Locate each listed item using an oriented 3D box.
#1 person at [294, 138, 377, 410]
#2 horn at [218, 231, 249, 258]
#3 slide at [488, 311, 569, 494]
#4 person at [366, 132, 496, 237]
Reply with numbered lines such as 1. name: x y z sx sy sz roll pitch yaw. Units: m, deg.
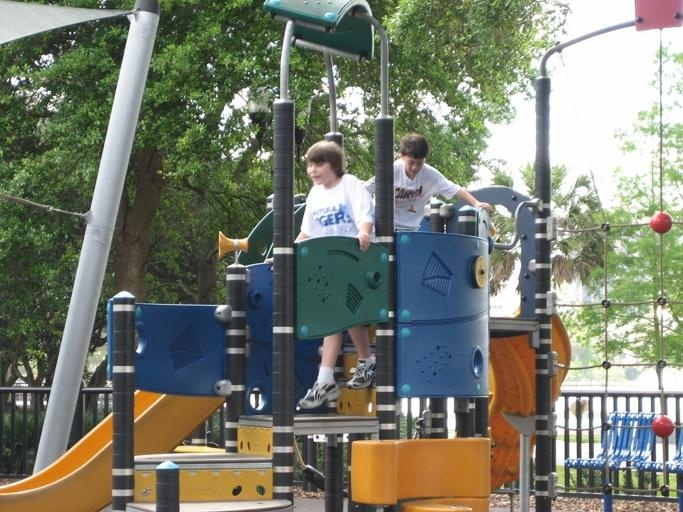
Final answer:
1. person: -0.066 0.231 21.302 1.096 3.621 1.068 2 -11 -2
2. horn: -1.510 -0.146 22.097 0.381 0.396 0.363 0 4 -11
3. slide: 2.645 2.332 23.672 0.743 2.427 1.678 3 12 -2
4. person: 1.120 -0.916 22.032 1.551 1.519 0.821 10 -14 -33
